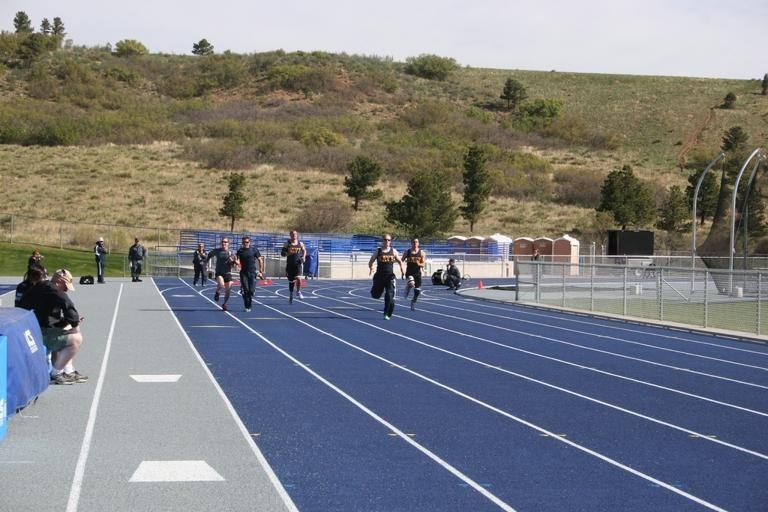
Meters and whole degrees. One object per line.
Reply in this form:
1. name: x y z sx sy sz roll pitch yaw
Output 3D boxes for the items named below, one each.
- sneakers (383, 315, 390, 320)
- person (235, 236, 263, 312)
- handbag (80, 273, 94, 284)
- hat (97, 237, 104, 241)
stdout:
1. sneakers: 0.085 2.091 33.527 0.163 0.091 0.278 2 2 -2
2. person: -4.643 0.670 33.984 0.791 2.788 0.951 -1 14 -8
3. handbag: -13.605 1.103 45.622 0.562 0.387 0.566 -2 -3 36
4. hat: -14.675 -0.836 51.230 0.225 0.281 0.286 -6 12 -40
